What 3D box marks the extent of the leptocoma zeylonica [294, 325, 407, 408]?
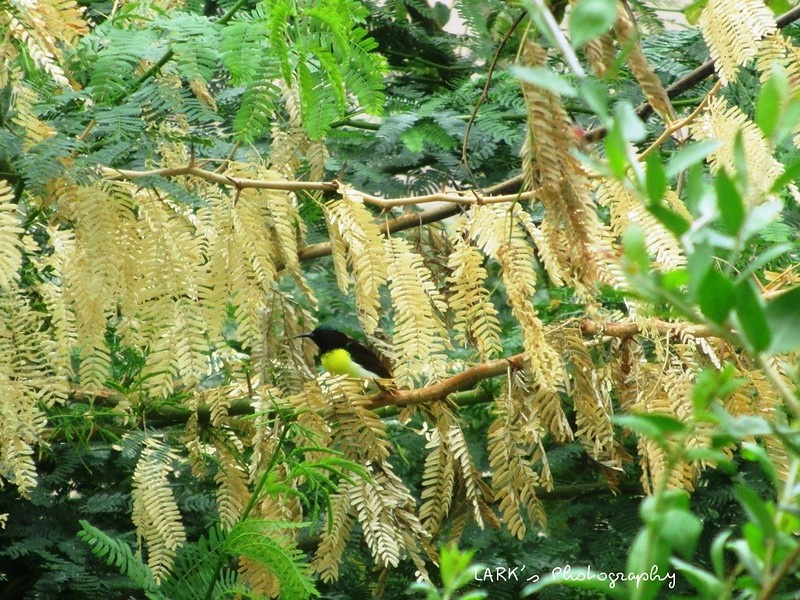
[{"bbox_3d":[-0.145,0.162,3.476,0.334,0.178,0.119,5,4,-32],"label":"leptocoma zeylonica"}]
